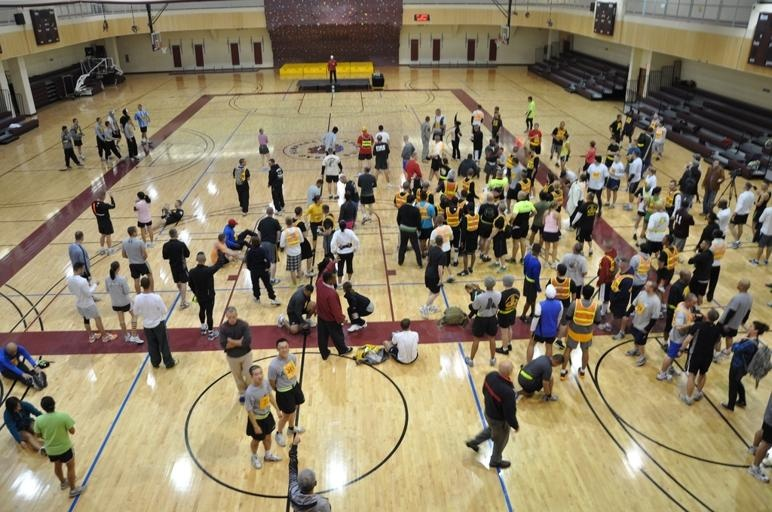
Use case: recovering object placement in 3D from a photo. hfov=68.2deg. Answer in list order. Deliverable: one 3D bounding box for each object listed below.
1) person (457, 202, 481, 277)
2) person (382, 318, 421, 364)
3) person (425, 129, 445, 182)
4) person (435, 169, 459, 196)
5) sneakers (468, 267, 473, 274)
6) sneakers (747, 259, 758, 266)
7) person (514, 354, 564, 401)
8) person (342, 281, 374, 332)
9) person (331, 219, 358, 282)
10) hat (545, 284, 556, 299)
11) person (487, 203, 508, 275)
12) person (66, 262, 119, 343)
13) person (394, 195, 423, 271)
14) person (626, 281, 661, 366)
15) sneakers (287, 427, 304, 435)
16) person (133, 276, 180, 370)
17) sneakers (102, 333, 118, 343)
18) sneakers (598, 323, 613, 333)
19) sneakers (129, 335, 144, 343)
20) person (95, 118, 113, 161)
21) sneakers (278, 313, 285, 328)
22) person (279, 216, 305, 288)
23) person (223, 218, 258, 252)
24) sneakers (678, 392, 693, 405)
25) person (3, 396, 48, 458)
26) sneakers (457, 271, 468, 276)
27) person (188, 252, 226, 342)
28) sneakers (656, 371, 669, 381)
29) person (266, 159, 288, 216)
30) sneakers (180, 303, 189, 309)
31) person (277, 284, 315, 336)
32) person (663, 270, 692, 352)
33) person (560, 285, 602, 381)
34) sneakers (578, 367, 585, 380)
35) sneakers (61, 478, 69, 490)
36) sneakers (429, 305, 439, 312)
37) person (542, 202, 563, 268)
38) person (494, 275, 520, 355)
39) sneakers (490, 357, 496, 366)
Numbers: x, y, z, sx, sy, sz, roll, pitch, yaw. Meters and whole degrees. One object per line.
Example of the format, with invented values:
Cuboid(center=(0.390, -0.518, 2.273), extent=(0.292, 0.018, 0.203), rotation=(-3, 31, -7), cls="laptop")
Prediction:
Cuboid(center=(2.650, -0.592, 18.162), extent=(0.589, 2.216, 0.993), rotation=(4, 25, 8), cls="person")
Cuboid(center=(0.467, 2.085, 15.640), extent=(0.990, 1.320, 1.199), rotation=(-6, 29, -7), cls="person")
Cuboid(center=(2.056, -4.023, 24.004), extent=(0.611, 1.930, 0.632), rotation=(19, 19, 37), cls="person")
Cuboid(center=(2.218, -2.505, 20.311), extent=(0.654, 0.748, 1.289), rotation=(2, 27, 4), cls="person")
Cuboid(center=(2.717, 0.421, 18.277), extent=(0.138, 0.162, 0.141), rotation=(11, 35, 23), cls="sneakers")
Cuboid(center=(11.990, 0.180, 18.699), extent=(0.245, 0.176, 0.135), rotation=(24, 62, 13), cls="sneakers")
Cuboid(center=(3.814, 2.999, 14.230), extent=(1.084, 1.173, 0.871), rotation=(1, 15, 0), cls="person")
Cuboid(center=(-0.775, 1.409, 16.066), extent=(0.874, 1.462, 0.818), rotation=(3, 18, 2), cls="person")
Cuboid(center=(-1.244, -0.146, 17.524), extent=(0.837, 1.984, 0.675), rotation=(-9, 22, -21), cls="person")
Cuboid(center=(4.099, 0.888, 14.244), extent=(0.210, 0.395, 0.382), rotation=(8, 27, 15), cls="hat")
Cuboid(center=(3.647, -0.698, 18.120), extent=(0.535, 2.199, 0.813), rotation=(6, 26, 12), cls="person")
Cuboid(center=(-8.073, 1.230, 15.659), extent=(0.842, 2.481, 0.385), rotation=(-3, 25, -6), cls="person")
Cuboid(center=(0.814, -0.852, 18.439), extent=(0.813, 2.447, 0.720), rotation=(2, 25, 3), cls="person")
Cuboid(center=(6.733, 1.728, 14.914), extent=(0.559, 2.350, 0.600), rotation=(11, 27, 22), cls="person")
Cuboid(center=(-2.159, 4.193, 13.796), extent=(0.408, 0.200, 0.159), rotation=(2, 44, -21), cls="sneakers")
Cuboid(center=(-6.040, 1.734, 15.050), extent=(0.785, 2.569, 0.763), rotation=(-3, 24, -6), cls="person")
Cuboid(center=(-7.752, 2.339, 16.146), extent=(0.358, 0.162, 0.177), rotation=(-19, 50, -32), cls="sneakers")
Cuboid(center=(6.214, 2.037, 16.220), extent=(0.334, 0.234, 0.210), rotation=(21, 38, 18), cls="sneakers")
Cuboid(center=(-6.930, 2.362, 15.991), extent=(0.362, 0.179, 0.177), rotation=(22, 13, -43), cls="sneakers")
Cuboid(center=(-12.679, -5.294, 26.245), extent=(0.582, 1.927, 0.575), rotation=(-13, 41, -35), cls="person")
Cuboid(center=(-2.960, 1.841, 16.321), extent=(0.134, 0.369, 0.157), rotation=(5, 1, -26), cls="sneakers")
Cuboid(center=(-2.791, -0.231, 17.231), extent=(0.676, 2.094, 0.397), rotation=(-5, 25, -11), cls="person")
Cuboid(center=(-4.670, -0.700, 18.599), extent=(1.086, 1.197, 0.631), rotation=(-6, 30, -11), cls="person")
Cuboid(center=(7.543, 3.574, 14.365), extent=(0.137, 0.256, 0.415), rotation=(-4, 41, 0), cls="sneakers")
Cuboid(center=(-8.407, 4.067, 13.394), extent=(1.202, 0.895, 0.669), rotation=(44, 51, 5), cls="person")
Cuboid(center=(2.457, 0.538, 18.222), extent=(0.305, 0.227, 0.114), rotation=(8, 30, 16), cls="sneakers")
Cuboid(center=(-4.896, 0.935, 15.955), extent=(0.948, 2.577, 0.888), rotation=(-9, 27, -19), cls="person")
Cuboid(center=(7.183, 3.127, 14.867), extent=(0.347, 0.254, 0.175), rotation=(-6, 51, 8), cls="sneakers")
Cuboid(center=(-4.059, -2.806, 21.452), extent=(0.491, 2.076, 1.066), rotation=(-4, 26, -9), cls="person")
Cuboid(center=(-5.991, 1.476, 17.142), extent=(0.248, 0.177, 0.097), rotation=(-13, 69, -22), cls="sneakers")
Cuboid(center=(-2.400, 1.378, 15.907), extent=(1.137, 1.720, 0.606), rotation=(13, 28, 24), cls="person")
Cuboid(center=(7.583, 1.475, 14.887), extent=(0.620, 2.074, 0.807), rotation=(-5, 49, 6), cls="person")
Cuboid(center=(5.008, 1.851, 14.633), extent=(0.670, 2.552, 1.178), rotation=(15, 29, 29), cls="person")
Cuboid(center=(5.085, 3.051, 14.856), extent=(0.115, 0.145, 0.333), rotation=(0, 28, 10), cls="sneakers")
Cuboid(center=(-7.238, 5.200, 13.000), extent=(0.106, 0.149, 0.235), rotation=(3, 28, -5), cls="sneakers")
Cuboid(center=(1.432, 1.529, 16.801), extent=(0.316, 0.157, 0.115), rotation=(4, 31, 5), cls="sneakers")
Cuboid(center=(5.332, -0.847, 18.426), extent=(0.563, 2.081, 1.068), rotation=(8, 26, 16), cls="person")
Cuboid(center=(3.136, 1.507, 15.149), extent=(0.698, 2.221, 0.607), rotation=(-20, 28, -39), cls="person")
Cuboid(center=(2.838, 2.802, 15.142), extent=(0.123, 0.155, 0.218), rotation=(-1, 21, 6), cls="sneakers")
